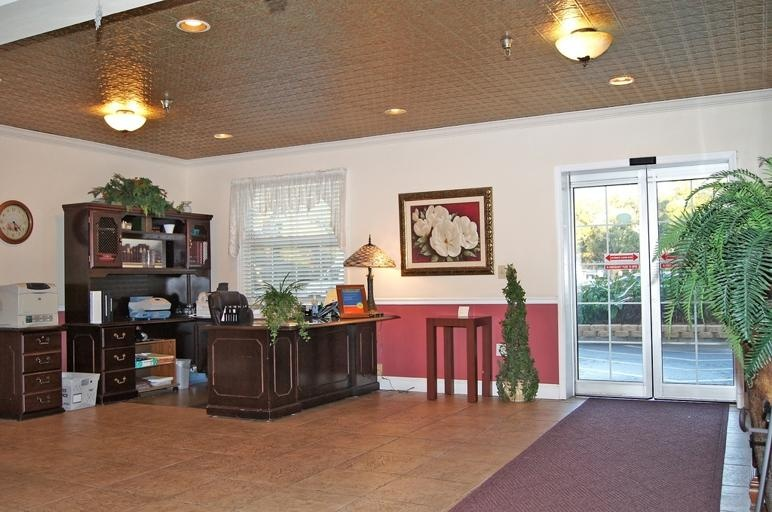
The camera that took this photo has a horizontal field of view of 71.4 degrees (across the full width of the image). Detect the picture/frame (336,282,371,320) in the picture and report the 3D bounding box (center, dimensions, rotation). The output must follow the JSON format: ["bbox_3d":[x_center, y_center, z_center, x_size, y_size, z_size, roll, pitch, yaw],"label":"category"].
[{"bbox_3d":[-0.428,0.624,7.162,0.551,0.469,0.043,4,-23,-38],"label":"picture/frame"}]

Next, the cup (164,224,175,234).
[{"bbox_3d":[-3.314,-0.416,8.239,0.159,0.123,0.143,1,-2,-6],"label":"cup"}]

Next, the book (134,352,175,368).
[{"bbox_3d":[-3.347,1.518,7.768,0.356,0.073,0.375,1,-1,35],"label":"book"}]

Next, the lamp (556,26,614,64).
[{"bbox_3d":[1.811,-1.864,4.877,0.485,0.146,0.446,0,-4,3],"label":"lamp"}]

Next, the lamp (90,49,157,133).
[{"bbox_3d":[-2.930,-1.888,6.101,0.695,0.885,0.626,-1,17,-25],"label":"lamp"}]

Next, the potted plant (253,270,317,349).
[{"bbox_3d":[-1.165,0.616,6.495,0.874,0.902,0.882,5,5,44],"label":"potted plant"}]

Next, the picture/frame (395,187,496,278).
[{"bbox_3d":[0.905,-0.328,7.474,1.569,1.127,0.058,0,2,24],"label":"picture/frame"}]

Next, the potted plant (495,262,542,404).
[{"bbox_3d":[1.673,0.982,6.817,0.511,1.733,0.231,-1,0,11],"label":"potted plant"}]

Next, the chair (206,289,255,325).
[{"bbox_3d":[-1.796,0.636,6.526,0.540,0.394,0.519,-5,-6,30],"label":"chair"}]
